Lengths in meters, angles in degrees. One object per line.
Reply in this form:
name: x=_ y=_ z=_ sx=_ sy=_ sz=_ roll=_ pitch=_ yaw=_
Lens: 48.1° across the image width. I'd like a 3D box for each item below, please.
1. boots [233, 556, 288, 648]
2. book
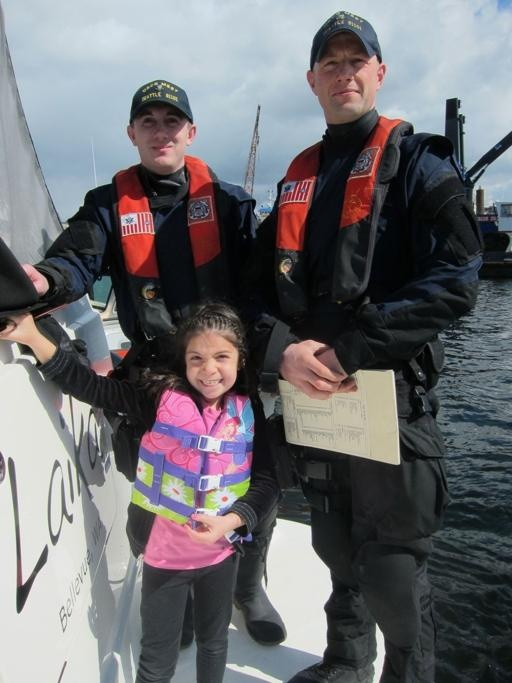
boots: x=-0.028 y=1.076 z=2.437 sx=0.143 sy=0.258 sz=0.388 roll=-10 pitch=11 yaw=-23
book: x=0.273 y=0.234 z=1.810 sx=0.392 sy=0.241 sz=0.031 roll=-1 pitch=10 yaw=42
